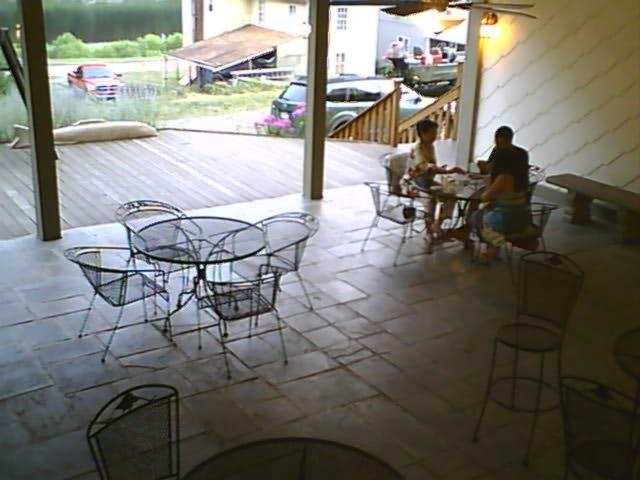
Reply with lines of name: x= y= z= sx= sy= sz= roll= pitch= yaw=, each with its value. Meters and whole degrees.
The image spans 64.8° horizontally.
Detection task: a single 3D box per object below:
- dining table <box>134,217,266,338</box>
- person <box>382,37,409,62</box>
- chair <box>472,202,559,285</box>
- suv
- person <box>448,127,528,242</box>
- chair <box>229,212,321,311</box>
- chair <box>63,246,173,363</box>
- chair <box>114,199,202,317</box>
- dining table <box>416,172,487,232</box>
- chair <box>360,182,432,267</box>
dining table: x=-1.123 y=0.363 z=5.188 sx=1.324 sy=0.833 sz=1.248 roll=-16 pitch=38 yaw=-33
person: x=2.238 y=-5.601 z=14.938 sx=0.863 sy=0.800 sz=0.480 roll=1 pitch=19 yaw=-6
chair: x=2.282 y=0.049 z=5.985 sx=0.673 sy=0.774 sz=0.613 roll=-35 pitch=51 yaw=-26
suv: x=0.912 y=-3.814 z=13.795 sx=4.425 sy=1.445 sz=1.963 roll=-10 pitch=30 yaw=-13
person: x=2.155 y=-0.620 z=6.289 sx=0.543 sy=1.562 sz=0.841 roll=-13 pitch=31 yaw=-30
chair: x=-0.441 y=0.242 z=5.150 sx=0.865 sy=0.829 sz=0.734 roll=-12 pitch=38 yaw=-28
chair: x=-1.887 y=0.637 z=4.758 sx=0.816 sy=0.774 sz=0.654 roll=-19 pitch=43 yaw=-37
chair: x=-1.656 y=0.218 z=5.167 sx=0.893 sy=1.027 sz=0.862 roll=26 pitch=40 yaw=25
dining table: x=1.688 y=-0.435 z=6.406 sx=0.938 sy=0.532 sz=0.821 roll=-10 pitch=43 yaw=-6
chair: x=1.030 y=-0.170 z=6.512 sx=0.775 sy=0.875 sz=0.774 roll=-19 pitch=41 yaw=-22
